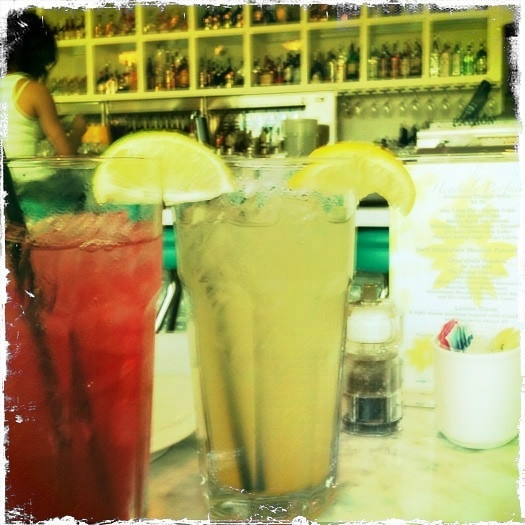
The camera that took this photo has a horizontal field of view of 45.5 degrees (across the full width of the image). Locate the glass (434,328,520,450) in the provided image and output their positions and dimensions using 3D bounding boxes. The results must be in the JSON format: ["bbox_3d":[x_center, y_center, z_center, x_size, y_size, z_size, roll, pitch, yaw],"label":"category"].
[{"bbox_3d":[0.203,0.139,0.675,0.107,0.098,0.114,0,7,12],"label":"glass"}]

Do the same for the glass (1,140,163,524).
[{"bbox_3d":[-0.135,0.060,0.453,0.109,0.264,0.079,-1,15,-5],"label":"glass"}]

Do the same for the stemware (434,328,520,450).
[{"bbox_3d":[0.226,0.139,0.652,0.090,0.101,0.057,3,14,10],"label":"stemware"}]

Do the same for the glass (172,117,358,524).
[{"bbox_3d":[-0.006,0.059,0.526,0.145,0.292,0.118,4,15,13],"label":"glass"}]
